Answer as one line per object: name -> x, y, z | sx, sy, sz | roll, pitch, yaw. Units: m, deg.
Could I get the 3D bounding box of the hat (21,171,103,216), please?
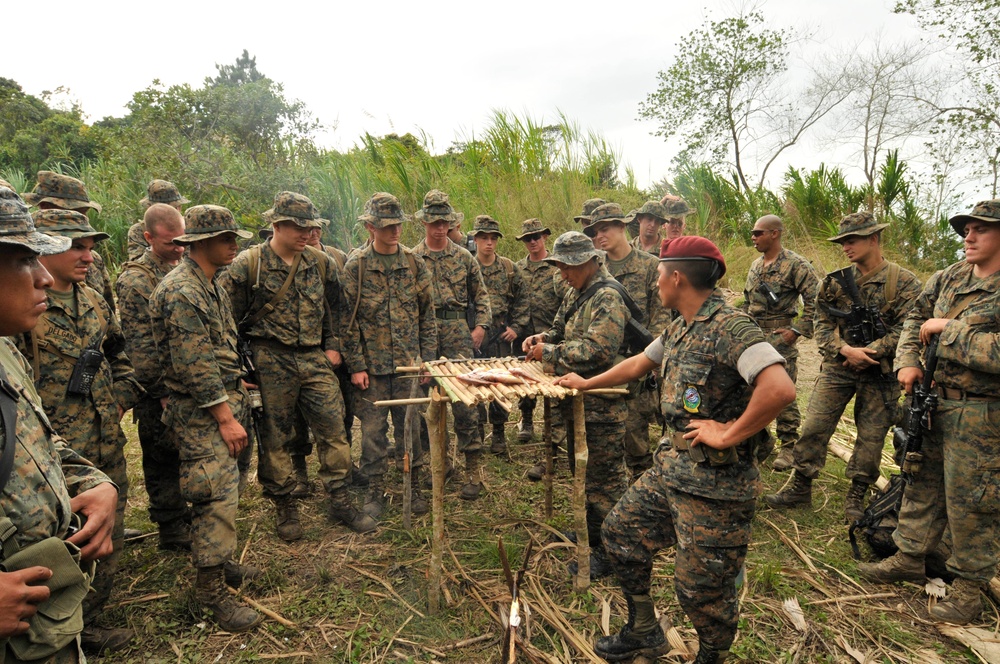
hat -> -4.483, -1.402, 7.662 | 0.668, 0.331, 0.646 | 6, 7, 12

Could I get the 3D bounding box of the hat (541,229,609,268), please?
hat -> 0.750, -0.790, 7.219 | 0.446, 0.192, 0.354 | 0, 2, -18

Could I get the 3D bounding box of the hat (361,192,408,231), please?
hat -> -1.201, -1.231, 7.782 | 0.412, 0.209, 0.400 | -2, 8, -5

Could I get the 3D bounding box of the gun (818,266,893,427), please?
gun -> 3.789, 0.054, 7.892 | 0.959, 1.622, 0.389 | -1, -33, 16

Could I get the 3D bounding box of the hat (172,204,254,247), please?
hat -> -2.636, -0.946, 6.761 | 0.469, 0.226, 0.457 | -10, 5, 39

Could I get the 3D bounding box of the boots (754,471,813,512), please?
boots -> 3.104, 1.729, 8.283 | 0.721, 0.525, 0.271 | 5, 5, 9

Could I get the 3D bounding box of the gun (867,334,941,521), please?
gun -> 3.873, 0.885, 7.221 | 0.259, 1.751, 0.682 | 9, -6, 18

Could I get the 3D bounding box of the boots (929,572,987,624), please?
boots -> 4.048, 2.352, 6.747 | 0.570, 0.503, 0.246 | 0, -6, -5

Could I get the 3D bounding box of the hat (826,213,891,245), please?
hat -> 3.702, -1.078, 7.855 | 0.413, 0.154, 0.388 | -24, 3, 34

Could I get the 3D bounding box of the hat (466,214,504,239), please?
hat -> -0.136, -1.364, 9.645 | 0.366, 0.179, 0.361 | 1, -3, 25

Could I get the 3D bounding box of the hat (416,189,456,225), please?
hat -> -0.735, -1.443, 8.842 | 0.459, 0.211, 0.455 | 3, 13, 0

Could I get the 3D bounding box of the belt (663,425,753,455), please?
belt -> 1.637, 0.835, 5.851 | 0.398, 0.165, 0.287 | 2, -1, 4

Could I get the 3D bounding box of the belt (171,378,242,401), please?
belt -> -2.579, 0.510, 6.606 | 0.353, 0.166, 0.272 | 4, -2, -30

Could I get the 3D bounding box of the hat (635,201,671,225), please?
hat -> 1.986, -1.556, 9.657 | 0.380, 0.189, 0.387 | 6, -1, 40

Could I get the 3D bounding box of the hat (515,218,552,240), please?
hat -> 0.437, -1.309, 9.605 | 0.443, 0.204, 0.507 | -21, -4, 13

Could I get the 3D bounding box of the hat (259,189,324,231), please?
hat -> -2.005, -1.170, 7.458 | 0.536, 0.203, 0.485 | 10, 6, -8

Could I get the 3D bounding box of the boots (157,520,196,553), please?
boots -> -3.169, 2.005, 7.371 | 0.440, 0.387, 0.203 | -2, 10, -21
